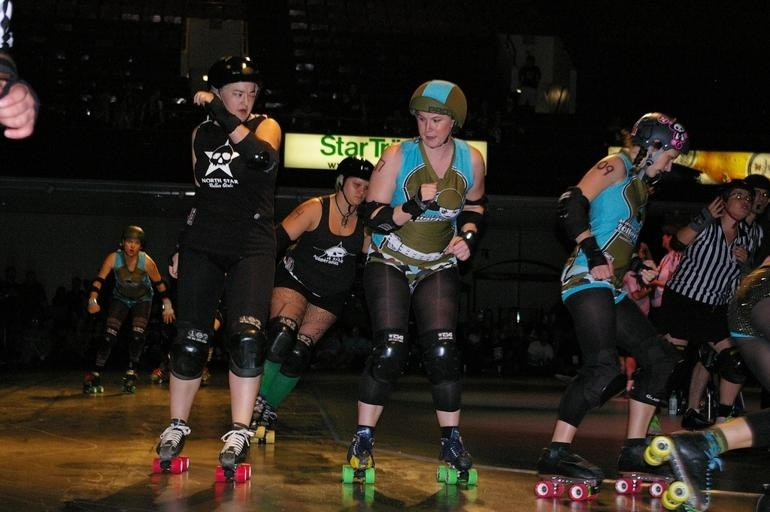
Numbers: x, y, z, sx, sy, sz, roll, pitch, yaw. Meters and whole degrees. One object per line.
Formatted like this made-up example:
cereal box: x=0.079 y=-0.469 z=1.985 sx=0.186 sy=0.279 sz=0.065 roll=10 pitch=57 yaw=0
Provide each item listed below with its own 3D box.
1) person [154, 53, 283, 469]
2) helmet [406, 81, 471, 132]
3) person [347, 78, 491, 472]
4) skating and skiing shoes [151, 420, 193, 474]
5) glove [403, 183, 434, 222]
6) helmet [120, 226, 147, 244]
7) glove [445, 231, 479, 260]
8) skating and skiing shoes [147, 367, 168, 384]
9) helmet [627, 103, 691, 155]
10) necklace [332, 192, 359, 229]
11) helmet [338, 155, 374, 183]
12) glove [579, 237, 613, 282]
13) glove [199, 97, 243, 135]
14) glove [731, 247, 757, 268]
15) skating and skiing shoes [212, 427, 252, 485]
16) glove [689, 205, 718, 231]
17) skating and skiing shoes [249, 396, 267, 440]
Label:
person: x=-1.156 y=0.004 z=5.175 sx=0.754 sy=3.094 sz=0.674 roll=5 pitch=-6 yaw=-18
helmet: x=0.410 y=-1.136 z=5.323 sx=0.373 sy=0.307 sz=0.340 roll=6 pitch=0 yaw=-28
person: x=0.278 y=0.130 z=5.264 sx=0.908 sy=2.935 sz=0.637 roll=3 pitch=-6 yaw=4
skating and skiing shoes: x=-1.551 y=1.393 z=5.163 sx=0.261 sy=0.390 sz=0.203 roll=6 pitch=-6 yaw=-19
glove: x=0.270 y=-0.384 z=5.088 sx=0.172 sy=0.248 sz=0.098 roll=43 pitch=0 yaw=15
helmet: x=-3.615 y=-0.332 z=10.148 sx=0.321 sy=0.352 sz=0.442 roll=4 pitch=-10 yaw=-18
glove: x=0.613 y=-0.084 z=5.280 sx=0.255 sy=0.151 sz=0.112 roll=-29 pitch=-48 yaw=15
skating and skiing shoes: x=-3.541 y=1.876 z=10.969 sx=0.175 sy=0.231 sz=0.533 roll=5 pitch=-12 yaw=-10
helmet: x=2.151 y=-0.952 z=5.463 sx=0.383 sy=0.319 sz=0.301 roll=3 pitch=9 yaw=12
necklace: x=-0.341 y=-0.387 z=6.179 sx=0.229 sy=0.337 sz=0.253 roll=13 pitch=16 yaw=-5
helmet: x=-0.258 y=-0.731 z=6.046 sx=0.259 sy=0.252 sz=0.210 roll=-8 pitch=2 yaw=19
glove: x=1.567 y=0.040 z=5.308 sx=0.214 sy=0.312 sz=0.115 roll=-25 pitch=-5 yaw=-29
glove: x=-1.144 y=-0.987 z=4.988 sx=0.280 sy=0.217 sz=0.086 roll=32 pitch=-52 yaw=-10
glove: x=3.797 y=0.009 z=7.403 sx=0.179 sy=0.230 sz=0.082 roll=-37 pitch=-12 yaw=-48
skating and skiing shoes: x=-1.073 y=1.411 z=5.044 sx=0.253 sy=0.396 sz=0.210 roll=5 pitch=-6 yaw=-11
glove: x=3.226 y=-0.360 z=7.105 sx=0.208 sy=0.278 sz=0.380 roll=-1 pitch=-7 yaw=36
skating and skiing shoes: x=-1.106 y=1.426 z=6.182 sx=0.181 sy=0.233 sz=0.546 roll=2 pitch=7 yaw=-3
